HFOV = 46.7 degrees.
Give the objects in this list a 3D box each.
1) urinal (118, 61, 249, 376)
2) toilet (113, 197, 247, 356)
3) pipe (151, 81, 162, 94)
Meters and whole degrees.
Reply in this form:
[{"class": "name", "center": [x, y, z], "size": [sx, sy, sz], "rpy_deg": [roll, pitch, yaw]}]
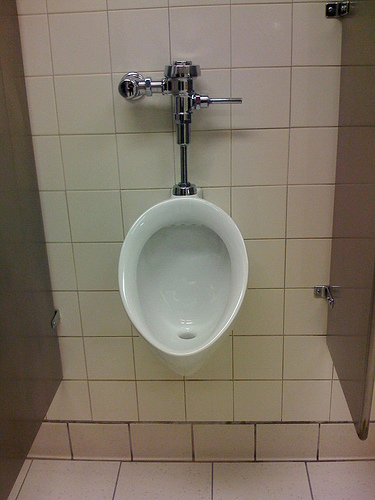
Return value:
[{"class": "urinal", "center": [-0.016, -0.093, 1.160], "size": [0.339, 0.677, 0.572], "rpy_deg": [-2, -47, 3]}, {"class": "toilet", "center": [0.017, 0.110, 1.245], "size": [0.280, 0.438, 0.273], "rpy_deg": [-1, -16, 11]}, {"class": "pipe", "center": [-0.085, -0.441, 1.175], "size": [0.027, 0.022, 0.031], "rpy_deg": [0, -75, 5]}]
